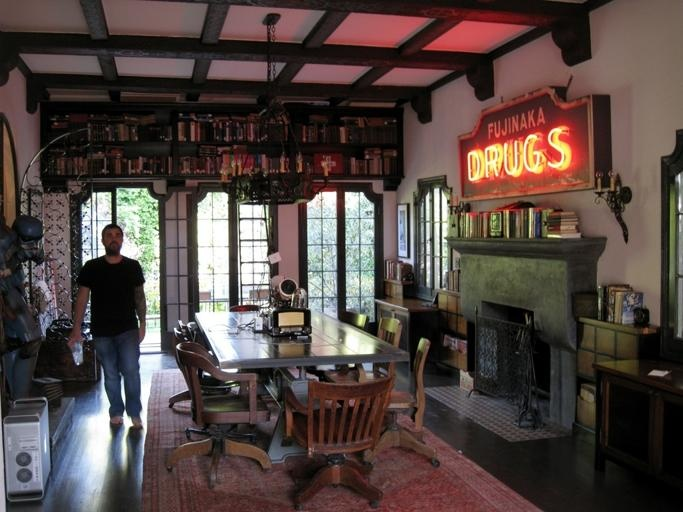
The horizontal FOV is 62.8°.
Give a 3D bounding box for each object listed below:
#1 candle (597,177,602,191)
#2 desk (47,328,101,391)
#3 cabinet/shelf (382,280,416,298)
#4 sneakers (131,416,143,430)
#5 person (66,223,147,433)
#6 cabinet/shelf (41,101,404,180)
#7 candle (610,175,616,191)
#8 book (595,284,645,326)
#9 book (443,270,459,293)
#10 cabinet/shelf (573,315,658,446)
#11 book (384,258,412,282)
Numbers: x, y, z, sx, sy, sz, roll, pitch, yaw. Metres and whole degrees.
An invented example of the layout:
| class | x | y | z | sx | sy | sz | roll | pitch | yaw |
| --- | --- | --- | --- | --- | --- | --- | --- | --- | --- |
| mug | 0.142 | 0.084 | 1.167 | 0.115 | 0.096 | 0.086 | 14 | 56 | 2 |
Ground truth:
| class | x | y | z | sx | sy | sz | roll | pitch | yaw |
| --- | --- | --- | --- | --- | --- | --- | --- | --- | --- |
| candle | 2.549 | -0.715 | 5.554 | 0.040 | 0.141 | 0.140 | 2 | 5 | 24 |
| desk | -3.563 | 1.330 | 7.595 | 0.745 | 0.564 | 0.585 | 3 | 16 | -1 |
| cabinet/shelf | 0.971 | 0.570 | 9.600 | 0.218 | 0.358 | 0.864 | -2 | 6 | -22 |
| sneakers | -2.119 | 1.741 | 5.834 | 0.066 | 0.088 | 0.194 | 1 | -3 | -22 |
| person | -2.393 | 0.733 | 5.825 | 0.688 | 2.125 | 0.434 | -2 | 5 | -20 |
| cabinet/shelf | -1.785 | -1.641 | 9.283 | 5.729 | 1.384 | 0.819 | -4 | -4 | -12 |
| candle | 2.647 | -0.719 | 5.482 | 0.041 | 0.153 | 0.121 | 2 | 5 | 21 |
| book | 2.642 | 0.420 | 5.378 | 0.395 | 0.421 | 0.311 | 1 | 5 | 3 |
| book | 1.602 | 0.341 | 8.028 | 0.315 | 0.328 | 0.233 | -1 | 3 | -40 |
| cabinet/shelf | 2.619 | 1.242 | 5.474 | 0.408 | 1.237 | 0.886 | 6 | 0 | -9 |
| book | 0.994 | 0.260 | 9.636 | 0.226 | 0.358 | 0.738 | -2 | 5 | -18 |
